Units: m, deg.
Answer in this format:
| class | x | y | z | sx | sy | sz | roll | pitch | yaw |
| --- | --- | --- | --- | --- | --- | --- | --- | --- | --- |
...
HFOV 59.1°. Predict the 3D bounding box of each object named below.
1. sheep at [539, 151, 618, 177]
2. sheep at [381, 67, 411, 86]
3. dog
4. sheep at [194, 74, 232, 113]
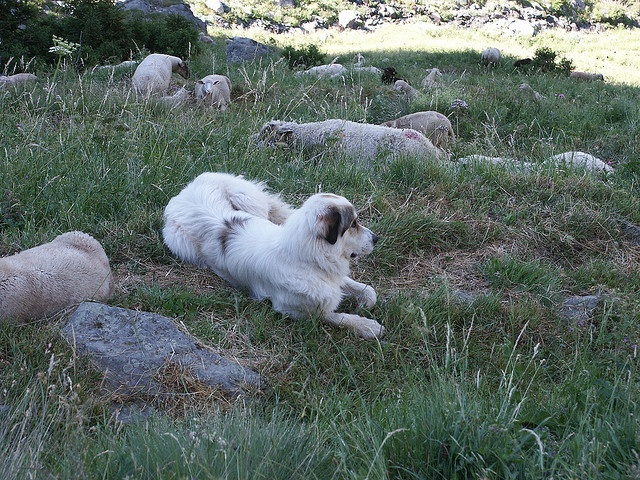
| class | x | y | z | sx | sy | sz | roll | pitch | yaw |
| --- | --- | --- | --- | --- | --- | --- | --- | --- | --- |
| sheep | 3.974 | -1.161 | 8.762 | 1.075 | 0.402 | 0.416 | 16 | 9 | -20 |
| sheep | 2.053 | -4.550 | 15.841 | 0.367 | 0.558 | 1.041 | 24 | 22 | 40 |
| dog | -0.542 | 0.044 | 5.650 | 1.949 | 0.838 | 1.505 | 22 | 32 | 3 |
| sheep | -2.381 | -3.230 | 12.487 | 0.667 | 0.785 | 1.555 | -2 | 18 | -3 |
